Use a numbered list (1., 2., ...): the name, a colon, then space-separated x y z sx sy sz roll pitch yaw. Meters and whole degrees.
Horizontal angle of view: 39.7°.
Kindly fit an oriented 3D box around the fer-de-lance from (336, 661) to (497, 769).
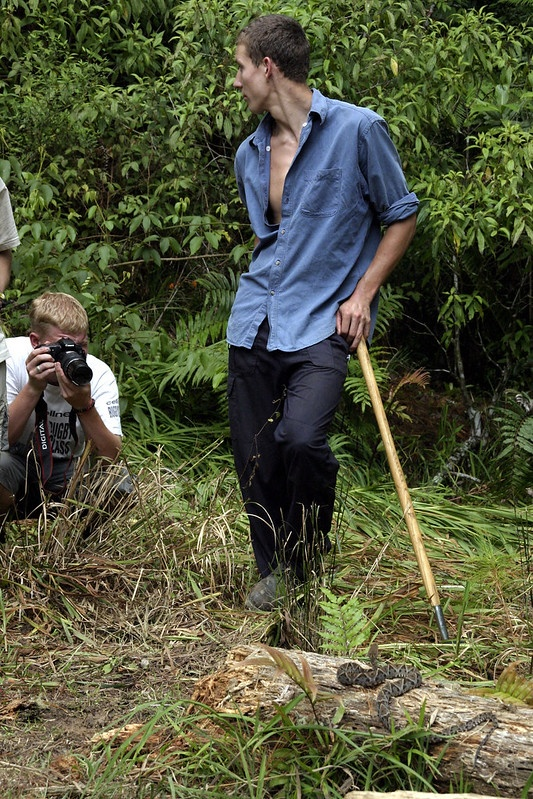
1. fer-de-lance: 0.291 0.601 1.440 0.133 0.091 0.285 -23 34 -23

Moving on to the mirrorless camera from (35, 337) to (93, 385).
1. mirrorless camera: -0.706 -0.142 2.624 0.105 0.156 0.173 -6 40 -44

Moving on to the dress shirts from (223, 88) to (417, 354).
1. dress shirts: 0.170 -0.603 2.574 0.663 0.901 0.441 10 14 9
